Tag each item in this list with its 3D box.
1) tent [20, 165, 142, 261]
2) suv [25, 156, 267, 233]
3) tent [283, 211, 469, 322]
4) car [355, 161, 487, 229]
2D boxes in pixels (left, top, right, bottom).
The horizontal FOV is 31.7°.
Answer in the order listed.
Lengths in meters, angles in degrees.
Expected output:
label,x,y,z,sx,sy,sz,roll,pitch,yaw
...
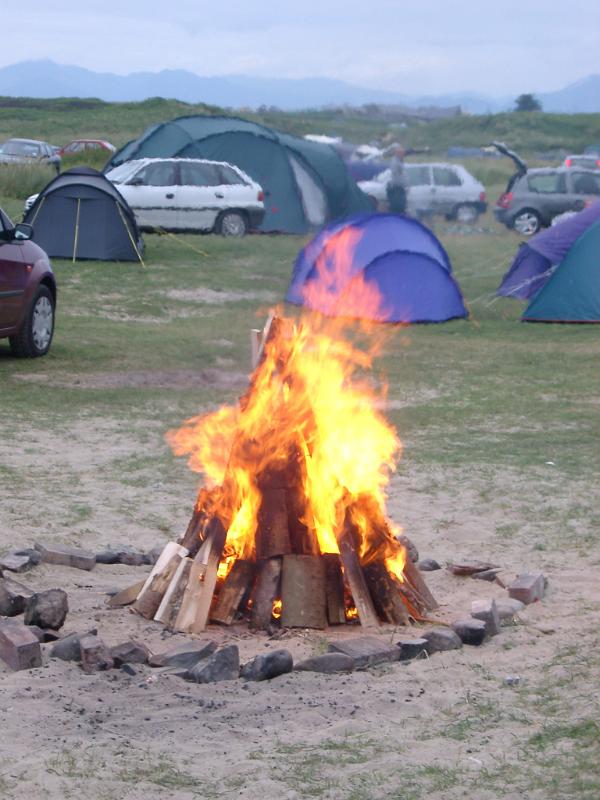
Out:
label,x,y,z,sx,sy,sz,roll,pitch,yaw
tent,-3.619,-3.404,17.626,1.593,0.834,1.891,14,16,28
suv,-2.975,-3.817,20.660,4.524,1.270,1.885,0,20,-15
tent,0.865,-1.839,15.000,1.846,0.838,2.024,3,8,35
car,3.042,-5.029,26.151,2.953,1.044,1.503,4,24,-3
